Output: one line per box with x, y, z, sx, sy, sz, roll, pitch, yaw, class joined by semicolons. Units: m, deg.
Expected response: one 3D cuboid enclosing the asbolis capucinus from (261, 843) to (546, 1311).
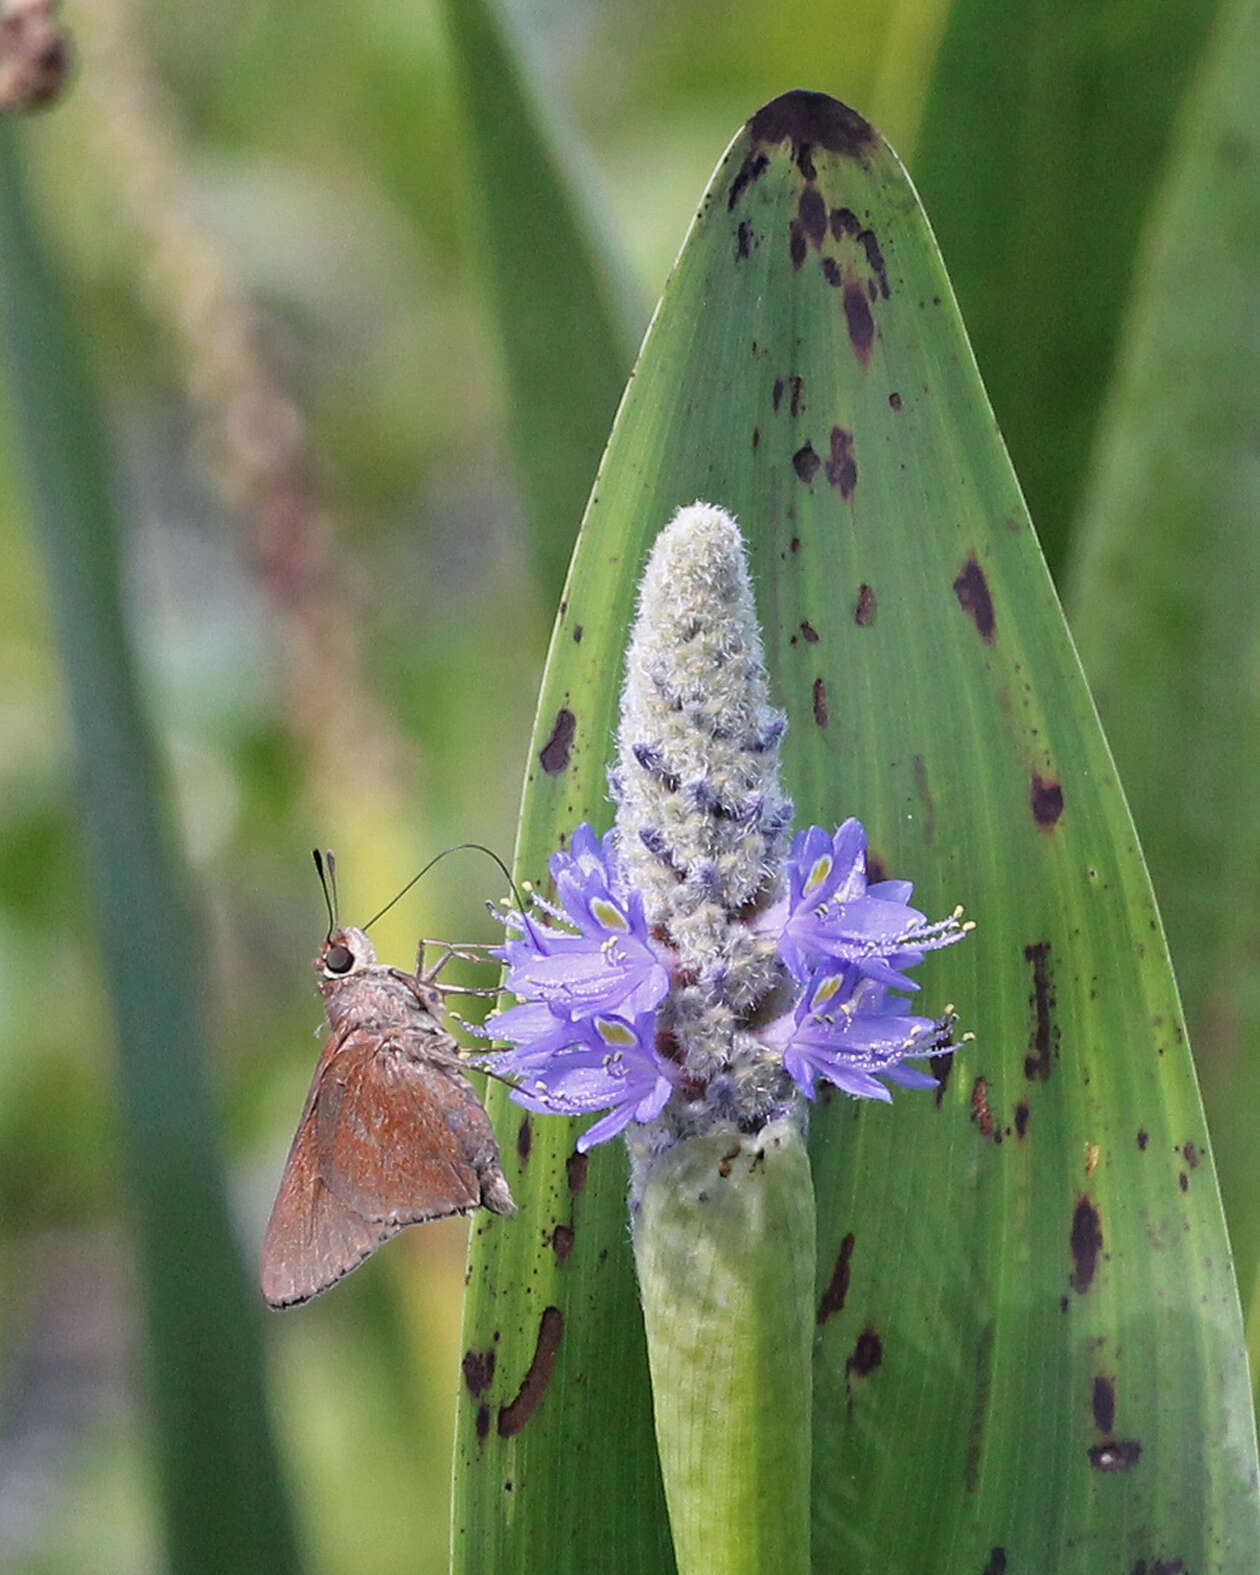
-0.240;0.292;2.295;0.229;0.490;0.179;-2;-26;-7;asbolis capucinus
